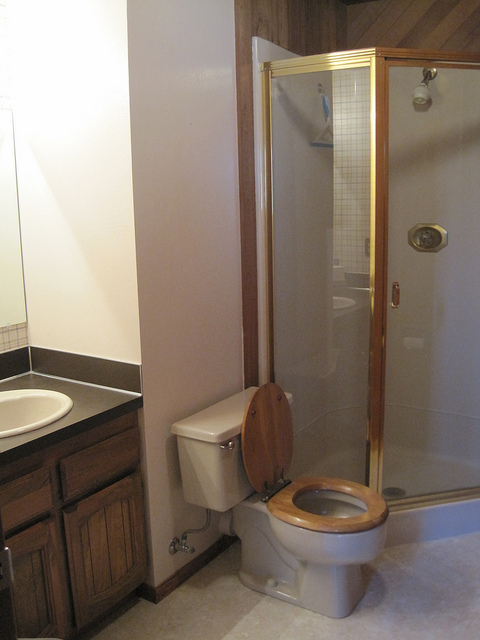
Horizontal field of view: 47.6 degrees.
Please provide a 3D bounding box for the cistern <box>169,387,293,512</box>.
[{"bbox_3d":[-0.064,0.503,1.983,0.238,0.334,0.344,3,8,30],"label":"cistern"}]

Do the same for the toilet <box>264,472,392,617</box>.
[{"bbox_3d":[0.316,0.734,1.851,0.370,0.381,0.355,1,12,26],"label":"toilet"}]

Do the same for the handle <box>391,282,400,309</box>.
[{"bbox_3d":[0.602,-0.096,2.096,0.039,0.098,0.013,-5,7,-30],"label":"handle"}]

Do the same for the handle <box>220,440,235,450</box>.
[{"bbox_3d":[-0.039,0.411,1.809,0.039,0.033,0.024,-26,21,-20],"label":"handle"}]

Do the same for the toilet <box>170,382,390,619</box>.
[{"bbox_3d":[0.199,0.619,1.919,0.638,0.858,0.657,3,7,39],"label":"toilet"}]

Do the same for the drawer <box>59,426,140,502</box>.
[{"bbox_3d":[-0.422,0.427,1.643,0.114,0.128,0.243,1,16,30],"label":"drawer"}]

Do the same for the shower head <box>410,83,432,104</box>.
[{"bbox_3d":[0.660,-0.823,1.978,0.092,0.070,0.014,-4,7,-22],"label":"shower head"}]

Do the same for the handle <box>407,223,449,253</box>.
[{"bbox_3d":[0.732,-0.317,2.115,0.142,0.124,0.043,1,8,-18],"label":"handle"}]
